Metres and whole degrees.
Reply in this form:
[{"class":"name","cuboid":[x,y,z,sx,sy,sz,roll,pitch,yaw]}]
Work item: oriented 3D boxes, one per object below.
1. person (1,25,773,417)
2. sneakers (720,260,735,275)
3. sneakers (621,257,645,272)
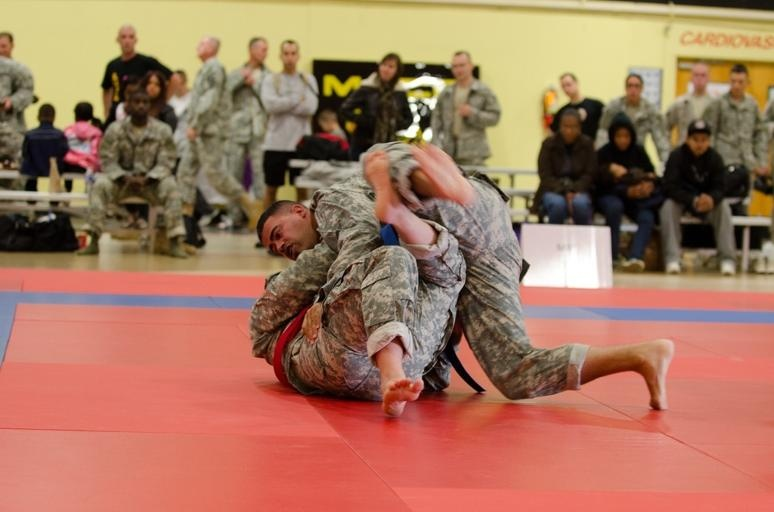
[{"class":"person","cuboid":[0.307,-0.059,3.309,1.668,0.841,0.979,8,-26,7]},{"class":"sneakers","cuboid":[3.401,0.120,7.899,0.102,0.064,0.158,3,-12,0]},{"class":"sneakers","cuboid":[2.469,0.090,8.075,0.134,0.102,0.289,-15,8,-22]}]
